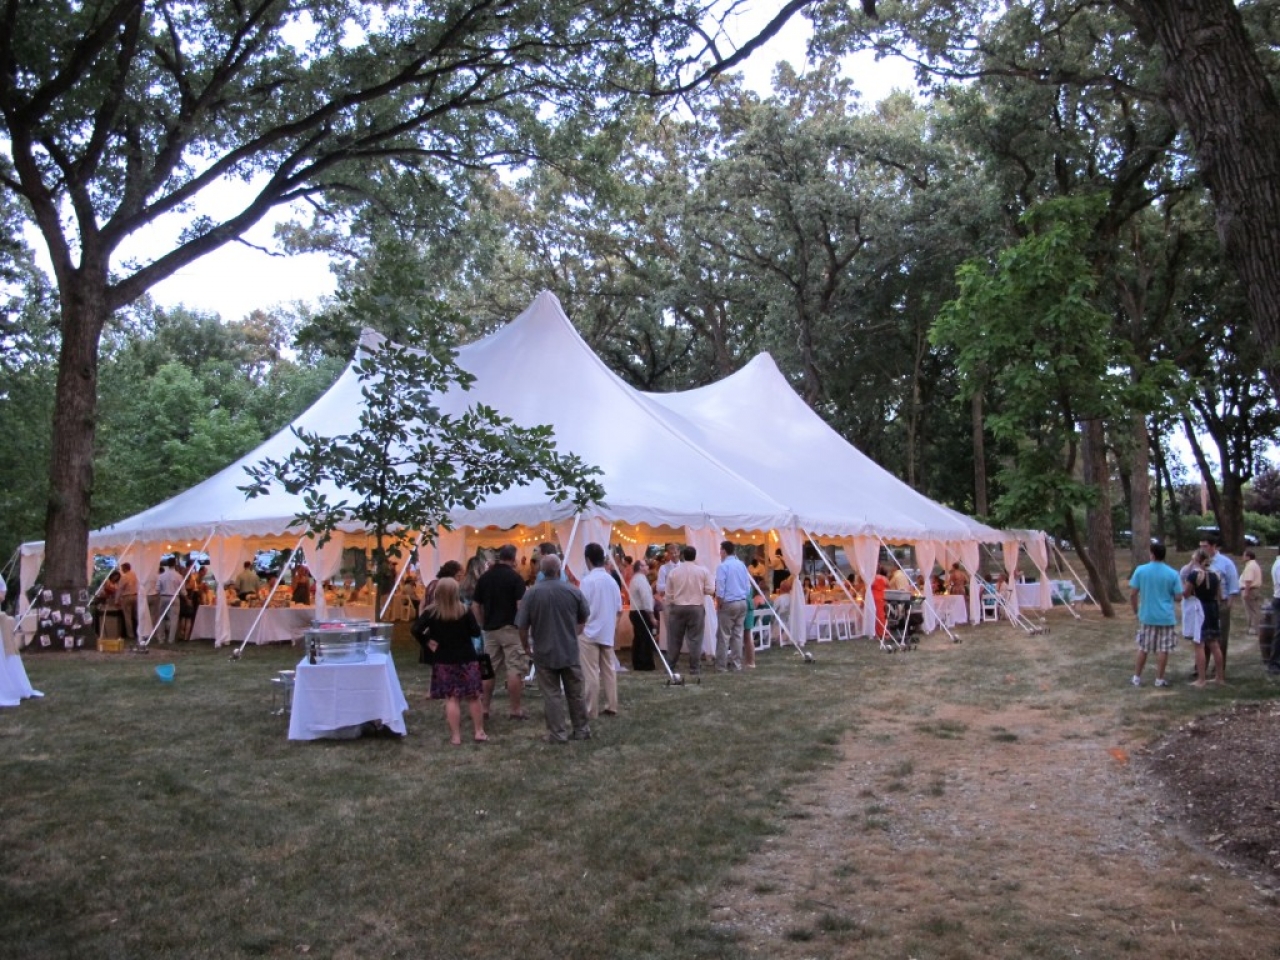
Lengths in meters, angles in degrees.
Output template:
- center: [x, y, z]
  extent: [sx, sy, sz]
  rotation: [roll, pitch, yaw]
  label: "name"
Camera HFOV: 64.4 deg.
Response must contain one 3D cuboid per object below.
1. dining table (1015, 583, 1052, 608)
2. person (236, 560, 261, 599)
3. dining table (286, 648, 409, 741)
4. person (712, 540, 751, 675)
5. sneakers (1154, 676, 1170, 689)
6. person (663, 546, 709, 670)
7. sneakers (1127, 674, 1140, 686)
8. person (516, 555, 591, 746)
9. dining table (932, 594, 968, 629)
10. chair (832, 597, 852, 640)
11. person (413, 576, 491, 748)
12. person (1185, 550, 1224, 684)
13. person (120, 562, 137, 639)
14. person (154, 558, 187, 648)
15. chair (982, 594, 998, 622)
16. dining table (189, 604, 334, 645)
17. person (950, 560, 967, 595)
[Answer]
- center: [8.115, 2.382, 21.001]
  extent: [0.579, 0.421, 0.624]
  rotation: [-1, -9, 11]
  label: "dining table"
- center: [-6.664, 1.712, 17.269]
  extent: [0.375, 0.578, 0.731]
  rotation: [-1, 5, -25]
  label: "person"
- center: [-2.875, 1.996, 9.948]
  extent: [0.766, 0.528, 0.959]
  rotation: [3, -7, -10]
  label: "dining table"
- center: [1.278, 1.747, 14.206]
  extent: [0.491, 1.801, 0.744]
  rotation: [1, 5, 5]
  label: "person"
- center: [6.197, 2.430, 12.074]
  extent: [0.088, 0.114, 0.254]
  rotation: [-4, -15, 25]
  label: "sneakers"
- center: [0.564, 1.746, 13.321]
  extent: [0.512, 1.719, 0.873]
  rotation: [4, 5, 33]
  label: "person"
- center: [5.937, 2.402, 12.179]
  extent: [0.100, 0.187, 0.175]
  rotation: [-1, -10, -12]
  label: "sneakers"
- center: [-0.850, 1.664, 9.940]
  extent: [0.680, 1.819, 0.388]
  rotation: [0, 5, -7]
  label: "person"
- center: [5.769, 2.421, 18.876]
  extent: [0.660, 0.422, 0.701]
  rotation: [-2, 1, 26]
  label: "dining table"
- center: [3.589, 2.474, 18.046]
  extent: [0.459, 0.784, 0.515]
  rotation: [0, 0, -7]
  label: "chair"
- center: [-1.871, 1.752, 10.135]
  extent: [0.707, 1.664, 0.924]
  rotation: [0, 5, -10]
  label: "person"
- center: [6.647, 1.596, 12.005]
  extent: [0.441, 1.609, 0.879]
  rotation: [4, 5, 34]
  label: "person"
- center: [-8.484, 1.995, 16.821]
  extent: [0.260, 1.267, 0.501]
  rotation: [-2, 5, -28]
  label: "person"
- center: [-7.731, 2.065, 16.669]
  extent: [0.405, 1.322, 1.820]
  rotation: [-2, 5, -26]
  label: "person"
- center: [6.961, 2.526, 20.242]
  extent: [0.304, 0.539, 0.435]
  rotation: [3, 5, 25]
  label: "chair"
- center: [-6.442, 2.392, 16.634]
  extent: [2.214, 0.711, 0.852]
  rotation: [2, 4, 14]
  label: "dining table"
- center: [6.164, 1.934, 19.670]
  extent: [0.296, 0.574, 0.704]
  rotation: [2, 4, 17]
  label: "person"
